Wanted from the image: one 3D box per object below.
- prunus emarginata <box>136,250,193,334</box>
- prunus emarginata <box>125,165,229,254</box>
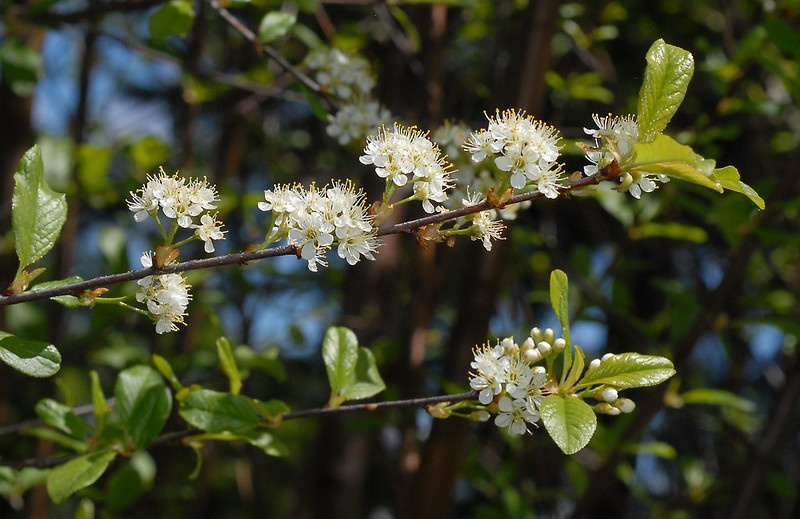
[{"bbox_3d":[-1.141,0.141,5.095,0.373,0.248,0.319,0,-69,-3],"label":"prunus emarginata"},{"bbox_3d":[-1.324,-0.308,5.807,0.407,0.484,0.512,-25,-33,-32],"label":"prunus emarginata"}]
